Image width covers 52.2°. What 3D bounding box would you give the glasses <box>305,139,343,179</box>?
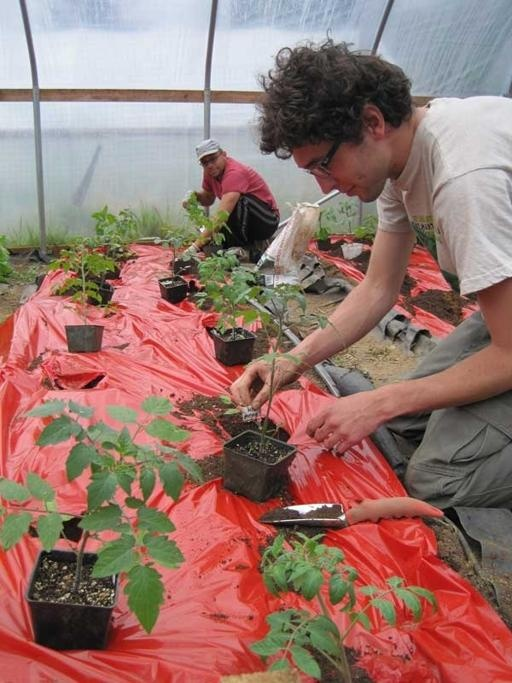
[{"bbox_3d":[0.198,-0.556,1.581,0.069,0.125,0.157,0,32,-17],"label":"glasses"}]

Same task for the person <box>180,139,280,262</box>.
[{"bbox_3d":[-0.301,-1.305,5.354,0.896,1.422,1.184,9,20,23],"label":"person"}]

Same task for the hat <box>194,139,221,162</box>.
[{"bbox_3d":[-0.433,-1.840,5.004,0.191,0.118,0.242,-20,6,27],"label":"hat"}]

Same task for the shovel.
[{"bbox_3d":[0.317,0.557,1.703,0.459,0.061,0.089,-2,1,-1],"label":"shovel"}]
